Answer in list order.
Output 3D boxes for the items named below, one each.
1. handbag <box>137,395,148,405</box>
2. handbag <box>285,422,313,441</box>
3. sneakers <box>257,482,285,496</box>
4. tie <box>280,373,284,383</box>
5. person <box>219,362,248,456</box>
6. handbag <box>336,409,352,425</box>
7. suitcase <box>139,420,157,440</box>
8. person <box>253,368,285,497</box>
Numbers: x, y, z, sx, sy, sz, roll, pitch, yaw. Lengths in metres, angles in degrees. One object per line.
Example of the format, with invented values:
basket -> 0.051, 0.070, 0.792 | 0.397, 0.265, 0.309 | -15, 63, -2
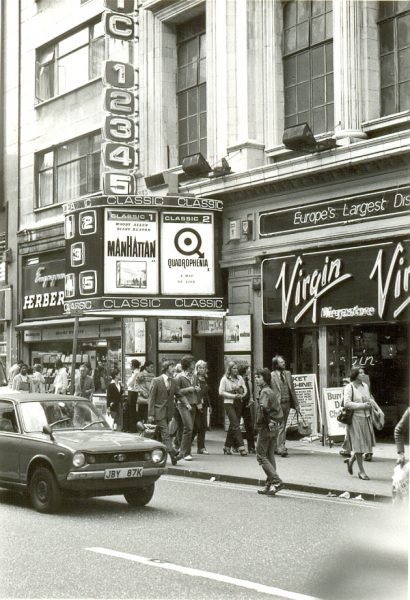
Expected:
handbag -> -1.317, 2.051, 16.924 | 0.195, 0.198, 0.235 | 0, -5, 0
handbag -> 1.817, 2.652, 16.312 | 0.381, 0.226, 0.395 | 7, -12, -44
sneakers -> 0.862, 2.519, 10.840 | 0.380, 0.234, 0.161 | -3, -4, 0
tie -> 1.368, 1.420, 14.729 | 0.041, 0.200, 0.013 | -1, -3, -18
person -> 0.508, 2.021, 15.015 | 0.473, 1.349, 0.662 | -2, -1, 3
handbag -> 2.044, 1.751, 12.184 | 0.178, 0.226, 0.421 | -3, -2, -10
suitcase -> -1.179, 2.637, 16.447 | 0.384, 0.281, 0.651 | 1, -4, 2
person -> 0.844, 1.774, 10.981 | 0.343, 1.379, 0.542 | -2, -1, 6
